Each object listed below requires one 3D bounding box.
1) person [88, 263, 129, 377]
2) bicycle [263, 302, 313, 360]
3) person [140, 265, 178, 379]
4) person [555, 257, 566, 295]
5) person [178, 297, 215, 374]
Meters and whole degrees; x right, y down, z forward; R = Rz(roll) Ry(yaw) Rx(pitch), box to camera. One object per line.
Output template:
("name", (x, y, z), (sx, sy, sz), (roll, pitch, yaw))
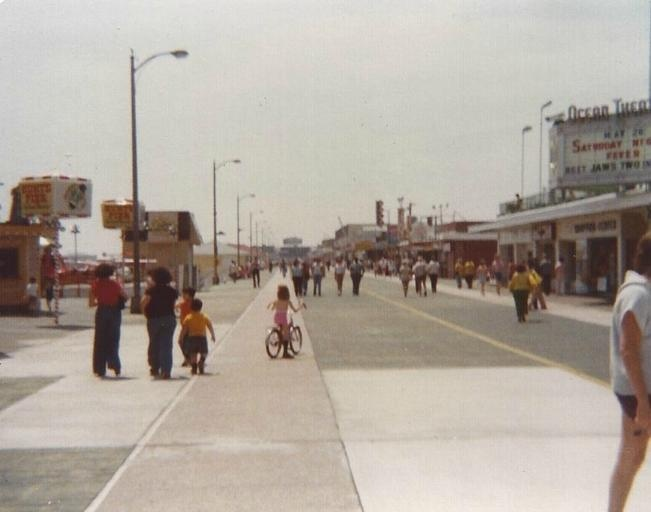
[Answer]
("person", (-3.786, 1.090, 15.726), (0.592, 1.999, 0.697), (-1, 4, -17))
("bicycle", (-0.882, 1.598, 17.921), (0.559, 0.864, 1.072), (-5, -7, 20))
("person", (-2.829, 1.128, 15.505), (0.592, 1.892, 0.704), (-1, 4, -13))
("person", (10.132, 0.870, 38.742), (0.402, 1.457, 2.536), (1, 5, 16))
("person", (-2.256, 1.411, 15.912), (0.574, 1.290, 0.815), (-1, 4, -19))
